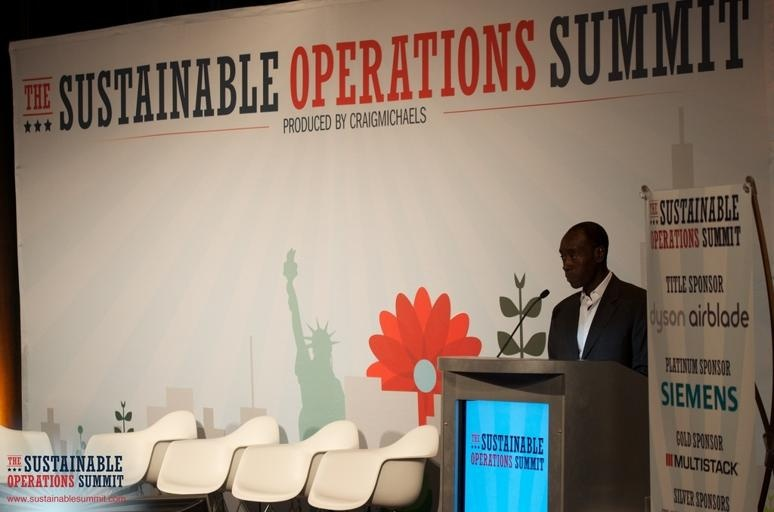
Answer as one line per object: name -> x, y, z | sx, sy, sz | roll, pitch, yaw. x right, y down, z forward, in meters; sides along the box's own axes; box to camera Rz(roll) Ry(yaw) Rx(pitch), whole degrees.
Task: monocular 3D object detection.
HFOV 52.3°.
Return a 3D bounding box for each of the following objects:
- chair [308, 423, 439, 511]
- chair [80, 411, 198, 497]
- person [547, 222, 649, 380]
chair -> -0.129, 1.750, 6.523 | 0.774, 0.611, 0.722 | 12, -18, -35
chair -> -2.260, 1.693, 7.211 | 0.611, 1.000, 0.707 | -4, -25, 29
person -> 1.719, 0.318, 6.514 | 0.805, 1.264, 0.269 | -2, -4, 17
